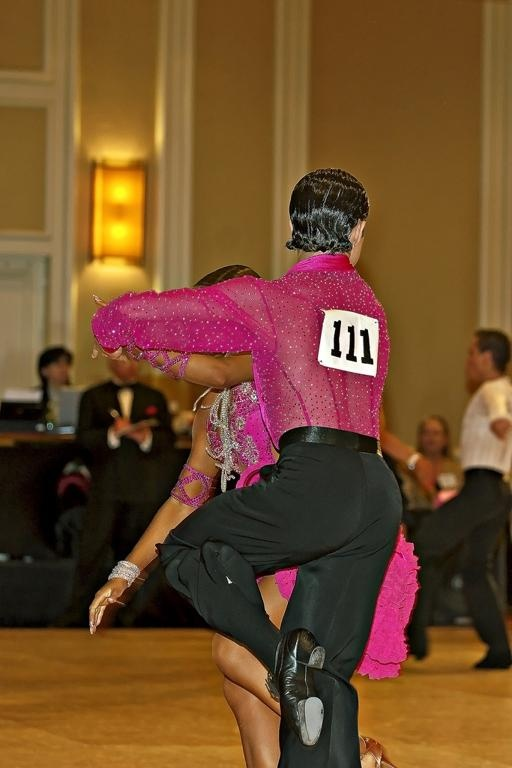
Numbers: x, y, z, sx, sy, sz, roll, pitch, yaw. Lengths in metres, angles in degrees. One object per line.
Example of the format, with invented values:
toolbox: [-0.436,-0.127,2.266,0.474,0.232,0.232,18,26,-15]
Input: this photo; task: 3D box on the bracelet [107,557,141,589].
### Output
bracelet: [-0.231,0.331,1.434,0.047,0.037,0.053,21,-18,-1]
